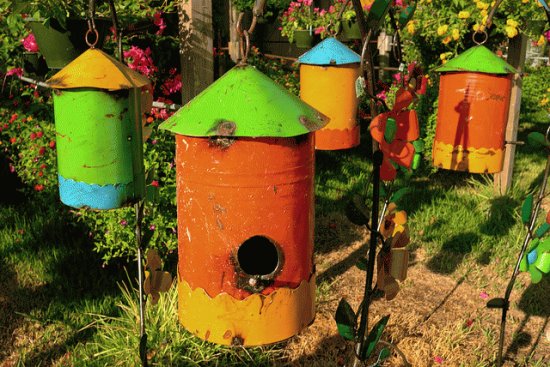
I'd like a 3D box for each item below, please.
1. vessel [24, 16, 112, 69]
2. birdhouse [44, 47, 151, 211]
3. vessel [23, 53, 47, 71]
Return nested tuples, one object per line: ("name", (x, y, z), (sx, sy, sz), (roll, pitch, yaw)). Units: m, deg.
("vessel", (-1.576, -1.112, 4.791), (0.444, 0.313, 0.447), (10, 15, 44))
("birdhouse", (-1.158, -0.383, 4.280), (0.658, 1.023, 0.379), (-8, 19, -22))
("vessel", (-2.429, -1.267, 6.372), (0.178, 0.156, 0.186), (11, 18, 33))
